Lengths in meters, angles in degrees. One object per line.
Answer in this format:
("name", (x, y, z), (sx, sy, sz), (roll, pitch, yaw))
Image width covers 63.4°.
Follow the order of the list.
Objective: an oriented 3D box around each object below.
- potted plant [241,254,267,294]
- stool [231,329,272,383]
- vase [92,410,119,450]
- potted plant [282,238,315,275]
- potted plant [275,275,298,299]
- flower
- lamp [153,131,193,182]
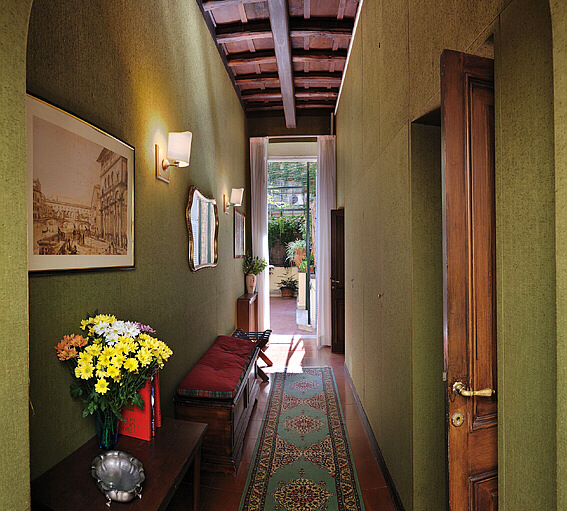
("potted plant", (-0.445, 0.250, 6.513), (0.327, 0.554, 0.372), (5, 3, -15))
("stool", (-0.323, 1.058, 5.024), (0.435, 0.637, 0.471), (0, 1, 4))
("vase", (-0.800, 0.774, 2.110), (0.108, 0.204, 0.122), (6, 8, -18))
("potted plant", (0.357, 0.005, 10.751), (0.625, 0.757, 0.682), (2, 1, -9))
("potted plant", (0.138, 0.851, 12.709), (0.440, 0.577, 0.506), (-4, 6, -34))
("flower", (-0.747, 0.545, 2.158), (0.461, 0.640, 0.517), (2, 4, 11))
("lamp", (-0.733, -0.657, 3.096), (0.188, 0.339, 0.217), (2, 0, 5))
